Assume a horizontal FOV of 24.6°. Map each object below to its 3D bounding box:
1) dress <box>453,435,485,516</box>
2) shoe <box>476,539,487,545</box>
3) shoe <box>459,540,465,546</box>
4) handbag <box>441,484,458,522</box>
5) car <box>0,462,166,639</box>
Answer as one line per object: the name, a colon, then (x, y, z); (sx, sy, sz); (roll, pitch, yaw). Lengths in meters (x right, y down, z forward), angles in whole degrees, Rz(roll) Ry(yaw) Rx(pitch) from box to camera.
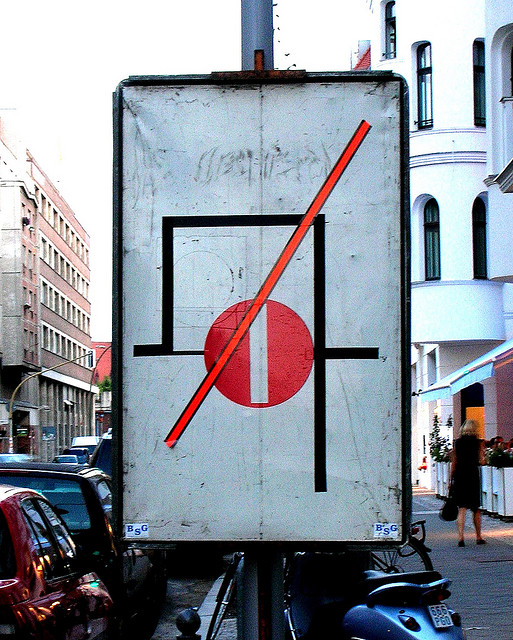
dress: (2.641, 1.908, 14.490); (0.359, 0.963, 0.527); (-2, -4, 11)
shoe: (2.758, 2.682, 14.169); (0.157, 0.070, 0.053); (0, 2, -41)
shoe: (2.497, 2.689, 14.089); (0.045, 0.093, 0.048); (-1, 3, 7)
handbag: (2.426, 2.272, 14.531); (0.188, 0.451, 0.369); (-2, -4, 11)
car: (-1.146, 1.626, 8.503); (1.029, 1.033, 1.880); (-1, 0, 8)
